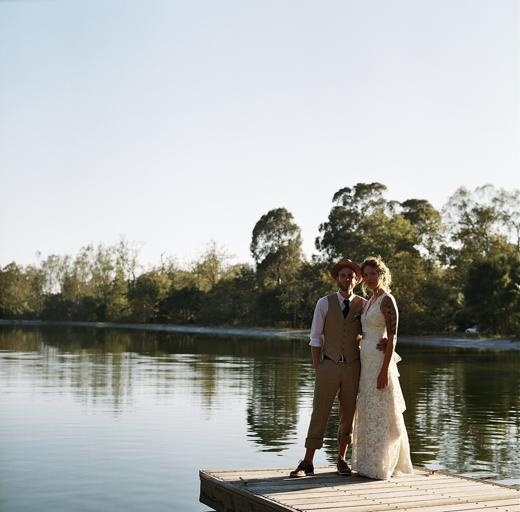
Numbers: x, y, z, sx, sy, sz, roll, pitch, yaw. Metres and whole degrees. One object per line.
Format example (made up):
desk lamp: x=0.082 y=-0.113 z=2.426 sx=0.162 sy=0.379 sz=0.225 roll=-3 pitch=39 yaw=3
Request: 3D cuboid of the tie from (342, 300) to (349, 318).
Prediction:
tie: x=0.999 y=0.610 z=9.319 sx=0.053 sy=0.227 sz=0.029 roll=4 pitch=-22 yaw=9

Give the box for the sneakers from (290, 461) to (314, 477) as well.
sneakers: x=0.486 y=2.426 z=9.077 sx=0.361 sy=0.187 sz=0.241 roll=5 pitch=-10 yaw=-20

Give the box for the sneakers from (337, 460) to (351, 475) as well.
sneakers: x=0.968 y=2.442 z=9.209 sx=0.159 sy=0.183 sz=0.221 roll=0 pitch=-9 yaw=5

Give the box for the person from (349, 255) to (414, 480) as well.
person: x=1.374 y=1.264 z=9.275 sx=0.651 sy=2.575 sz=0.512 roll=-2 pitch=-8 yaw=22
